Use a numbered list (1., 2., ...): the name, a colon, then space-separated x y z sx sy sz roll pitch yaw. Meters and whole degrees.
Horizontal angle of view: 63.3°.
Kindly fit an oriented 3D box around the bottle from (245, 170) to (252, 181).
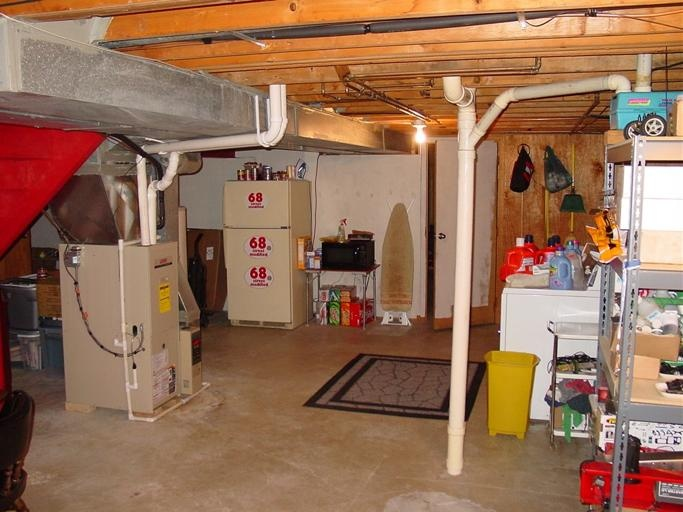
1. bottle: -1.455 -1.269 8.720 0.087 0.171 0.326 -3 10 -10

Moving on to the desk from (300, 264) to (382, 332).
1. desk: 0.026 0.629 9.247 1.334 1.082 0.962 0 0 14

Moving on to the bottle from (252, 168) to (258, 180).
1. bottle: -1.362 -1.288 8.721 0.082 0.175 0.142 -1 10 -3

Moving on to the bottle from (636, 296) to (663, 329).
1. bottle: 2.062 0.389 3.721 0.109 0.108 0.180 -25 33 6

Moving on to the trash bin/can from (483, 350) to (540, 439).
1. trash bin/can: 1.574 1.303 5.210 0.463 0.745 0.395 2 11 14

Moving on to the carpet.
1. carpet: 0.523 1.477 6.477 1.495 0.035 1.716 2 10 14

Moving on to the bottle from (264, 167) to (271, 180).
1. bottle: -1.149 -1.277 8.636 0.125 0.209 0.362 -2 10 -9

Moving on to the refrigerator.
1. refrigerator: -1.158 -0.023 8.727 1.296 2.328 0.714 -3 11 -11

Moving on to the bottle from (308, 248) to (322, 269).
1. bottle: -0.392 0.033 8.873 0.243 0.333 0.348 2 8 7
